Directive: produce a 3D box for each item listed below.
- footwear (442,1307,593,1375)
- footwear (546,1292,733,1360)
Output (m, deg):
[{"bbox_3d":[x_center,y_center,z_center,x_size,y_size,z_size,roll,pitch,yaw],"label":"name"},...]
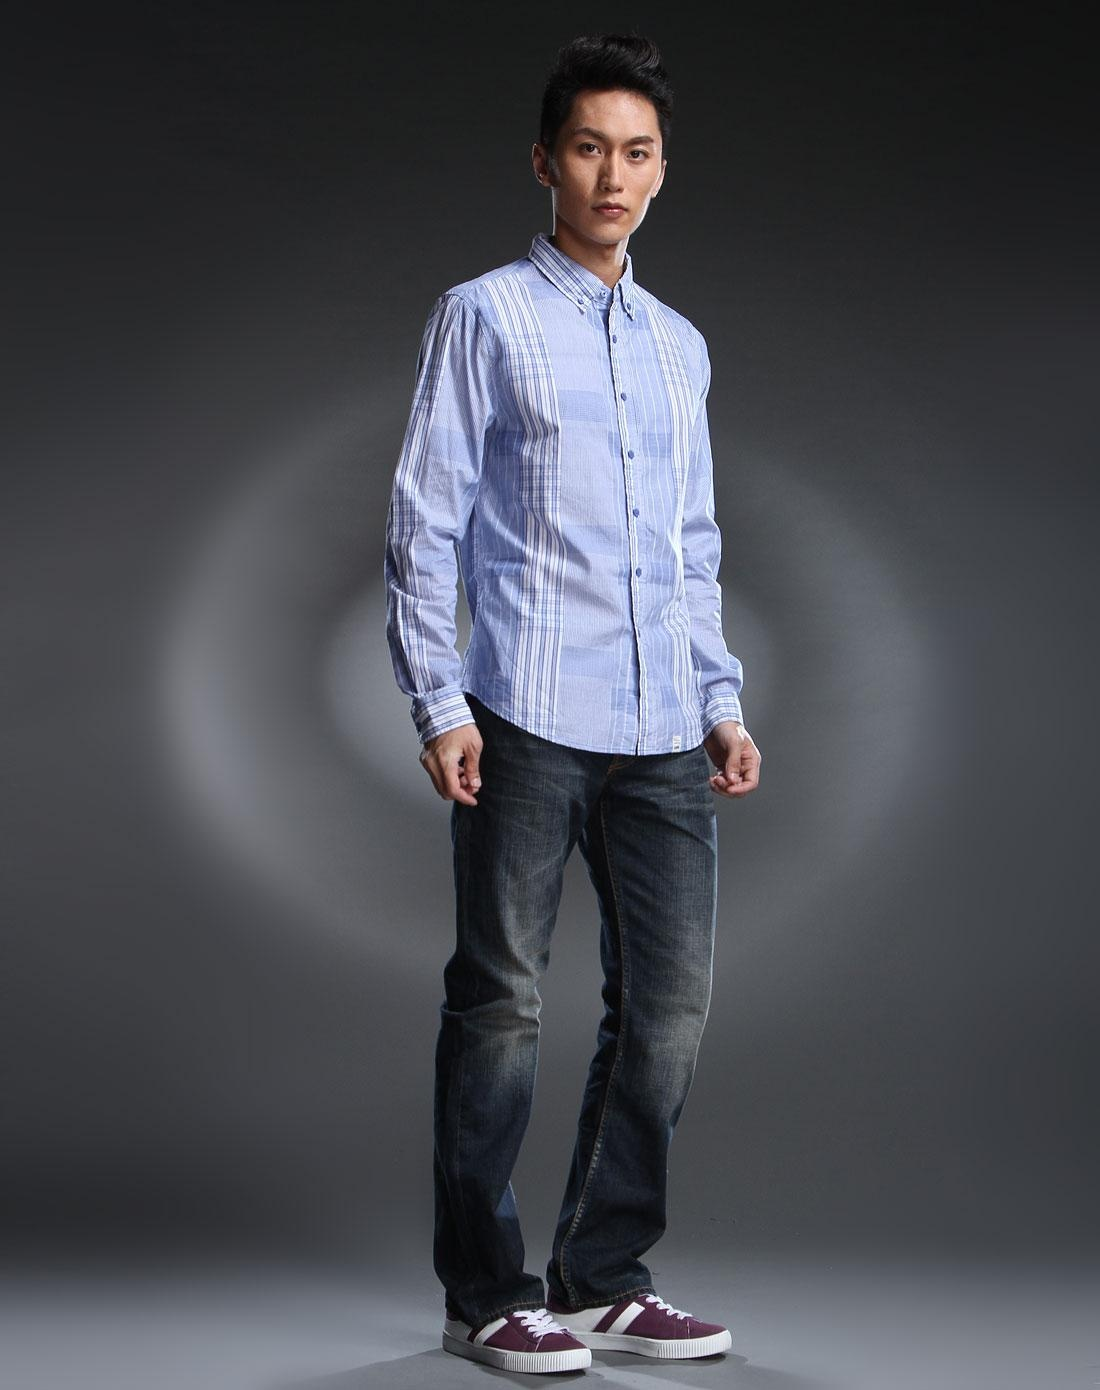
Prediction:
[{"bbox_3d":[-0.046,0.710,1.601,0.170,0.065,0.062,-9,-19,37],"label":"footwear"},{"bbox_3d":[0.107,0.727,1.680,0.205,0.070,0.071,-1,-9,10],"label":"footwear"}]
